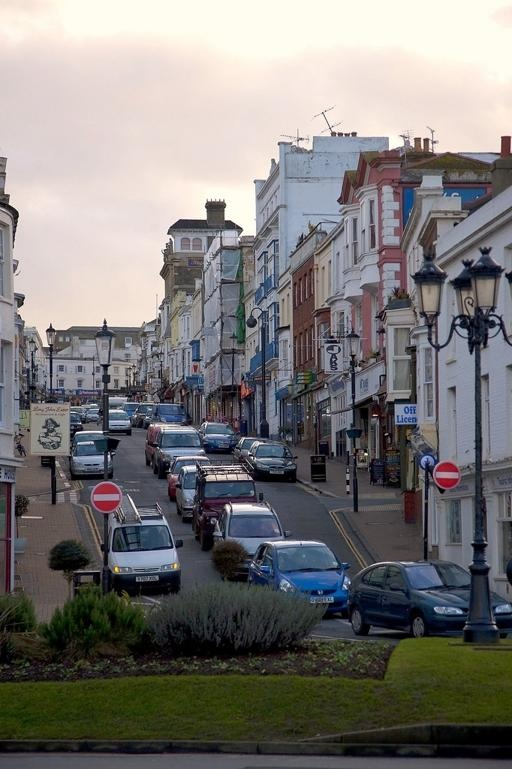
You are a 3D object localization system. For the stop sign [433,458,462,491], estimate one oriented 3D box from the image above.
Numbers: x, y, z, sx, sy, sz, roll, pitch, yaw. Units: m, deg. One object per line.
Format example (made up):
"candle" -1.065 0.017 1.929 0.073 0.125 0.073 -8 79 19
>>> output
"stop sign" 3.668 1.811 26.148 0.699 1.036 0.122 7 -11 -29

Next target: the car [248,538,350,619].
"car" 0.751 3.475 23.735 1.070 1.099 1.987 2 -8 -14

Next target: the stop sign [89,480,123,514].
"stop sign" -2.608 1.994 23.243 0.466 0.564 0.460 1 -5 -19

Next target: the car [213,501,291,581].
"car" -0.172 3.257 27.220 1.048 1.161 1.976 0 -5 -6

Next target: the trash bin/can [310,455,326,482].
"trash bin/can" 2.159 3.072 48.508 0.678 1.428 0.773 -1 5 -1

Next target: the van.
"van" -2.369 3.506 27.881 1.056 1.354 2.464 -1 -1 -7
